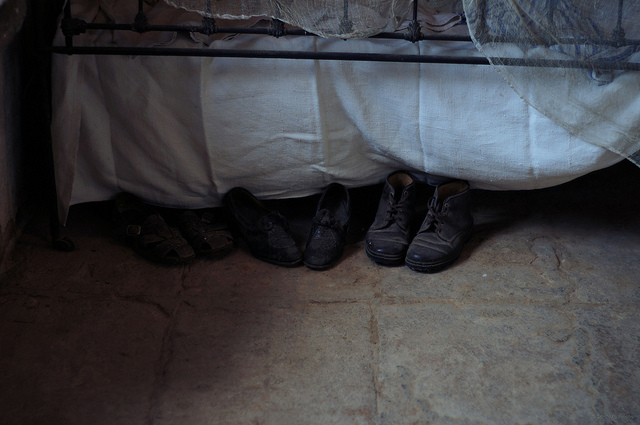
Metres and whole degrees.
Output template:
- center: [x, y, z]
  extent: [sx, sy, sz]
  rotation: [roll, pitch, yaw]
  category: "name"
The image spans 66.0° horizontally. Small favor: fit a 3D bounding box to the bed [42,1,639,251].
- center: [-0.061, -0.368, 2.008]
  extent: [1.310, 0.523, 1.241]
  rotation: [0, 21, 3]
  category: "bed"
